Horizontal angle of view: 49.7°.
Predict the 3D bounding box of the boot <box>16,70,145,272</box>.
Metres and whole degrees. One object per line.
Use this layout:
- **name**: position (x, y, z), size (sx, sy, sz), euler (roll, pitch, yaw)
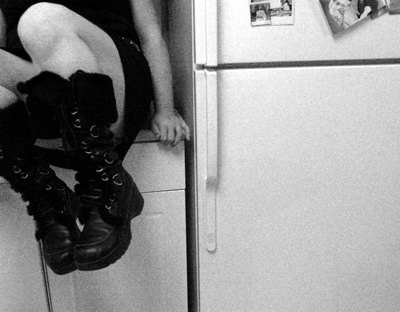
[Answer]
- **boot**: position (-0.286, 0.027, 1.109), size (0.273, 0.499, 0.170), euler (-11, 14, -23)
